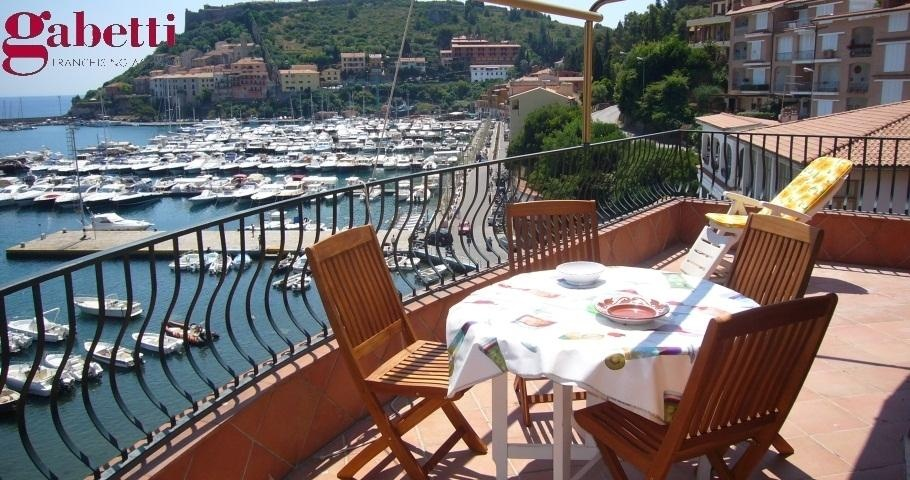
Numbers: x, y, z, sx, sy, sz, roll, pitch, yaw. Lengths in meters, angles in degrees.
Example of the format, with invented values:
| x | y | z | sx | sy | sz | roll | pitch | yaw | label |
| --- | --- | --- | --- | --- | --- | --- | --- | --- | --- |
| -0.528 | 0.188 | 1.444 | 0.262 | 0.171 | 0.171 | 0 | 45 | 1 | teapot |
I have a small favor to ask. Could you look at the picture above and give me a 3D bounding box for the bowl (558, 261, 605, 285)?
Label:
| x | y | z | sx | sy | sz | roll | pitch | yaw | label |
| --- | --- | --- | --- | --- | --- | --- | --- | --- | --- |
| 1.183 | 0.316 | 5.492 | 0.298 | 0.080 | 0.278 | -3 | 22 | 1 | bowl |
